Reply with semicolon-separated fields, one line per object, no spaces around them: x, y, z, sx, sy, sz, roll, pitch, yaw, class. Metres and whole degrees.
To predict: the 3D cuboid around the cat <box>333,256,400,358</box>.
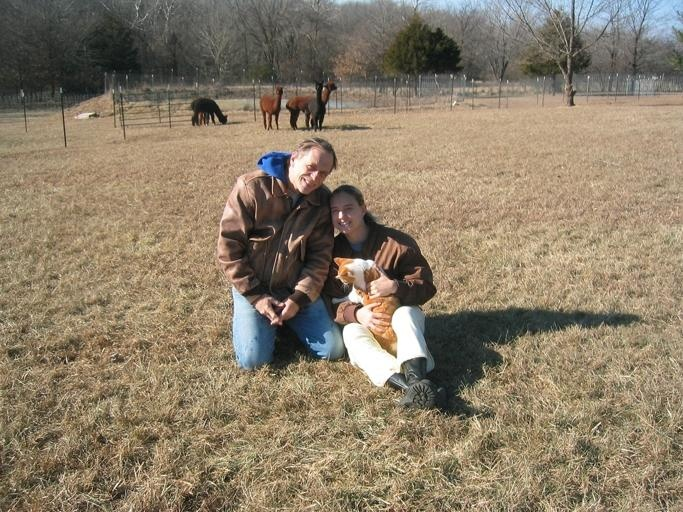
0.212;0.312;5.271;0.335;0.914;0.449;-23;-23;0;cat

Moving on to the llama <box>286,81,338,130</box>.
-0.641;-3.725;17.433;1.189;1.603;1.500;-5;21;-21;llama

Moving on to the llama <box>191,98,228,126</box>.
-4.703;-5.053;22.958;1.065;1.032;3.654;-6;18;-11;llama

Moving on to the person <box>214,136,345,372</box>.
-0.476;-0.105;5.373;0.981;1.779;1.030;-15;35;-44;person

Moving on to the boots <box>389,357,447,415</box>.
0.546;0.959;4.832;0.236;0.310;0.743;0;13;-2;boots
